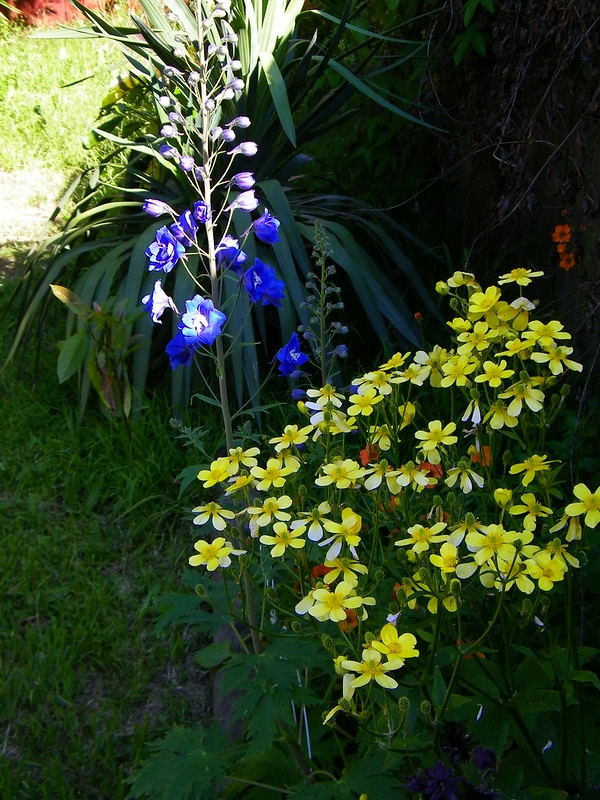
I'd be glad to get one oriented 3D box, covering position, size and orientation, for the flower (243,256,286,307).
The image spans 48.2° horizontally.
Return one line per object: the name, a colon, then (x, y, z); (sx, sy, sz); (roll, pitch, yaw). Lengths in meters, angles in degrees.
flower: (-0.077, -0.247, 1.413); (0.100, 0.092, 0.049); (-20, 10, -12)
